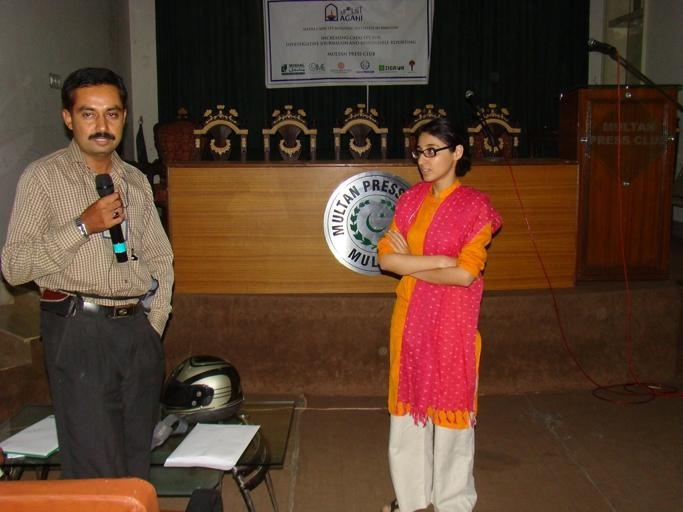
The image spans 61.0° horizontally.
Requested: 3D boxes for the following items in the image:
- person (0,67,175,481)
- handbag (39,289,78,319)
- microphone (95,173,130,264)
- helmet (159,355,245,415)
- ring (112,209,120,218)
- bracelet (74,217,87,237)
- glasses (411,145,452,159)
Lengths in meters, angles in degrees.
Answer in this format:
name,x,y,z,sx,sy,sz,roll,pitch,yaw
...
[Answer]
name,x,y,z,sx,sy,sz,roll,pitch,yaw
person,-1.083,0.061,2.429,0.605,1.636,0.664,-1,16,-5
handbag,-1.161,0.194,2.356,0.103,0.067,0.028,10,-18,16
microphone,-0.935,-0.118,2.388,0.093,0.436,0.086,-8,32,-12
helmet,-0.677,0.619,2.807,0.306,0.248,0.251,10,-6,3
ring,-0.913,-0.174,2.318,0.018,0.026,0.011,32,-25,-17
bracelet,-1.051,-0.116,2.315,0.017,0.062,0.065,-19,61,-34
glasses,0.446,-0.520,2.887,0.193,0.073,0.082,4,16,14
